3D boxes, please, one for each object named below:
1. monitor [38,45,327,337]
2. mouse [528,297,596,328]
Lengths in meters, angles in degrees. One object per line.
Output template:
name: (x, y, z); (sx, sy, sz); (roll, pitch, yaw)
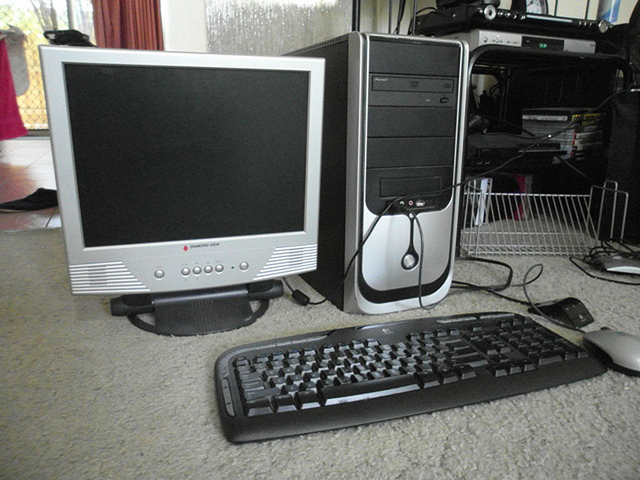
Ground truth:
monitor: (-0.221, -0.079, 0.854); (0.449, 0.471, 0.189); (-3, 17, -20)
mouse: (0.439, 0.119, 0.915); (0.047, 0.036, 0.090); (-3, 11, -16)
